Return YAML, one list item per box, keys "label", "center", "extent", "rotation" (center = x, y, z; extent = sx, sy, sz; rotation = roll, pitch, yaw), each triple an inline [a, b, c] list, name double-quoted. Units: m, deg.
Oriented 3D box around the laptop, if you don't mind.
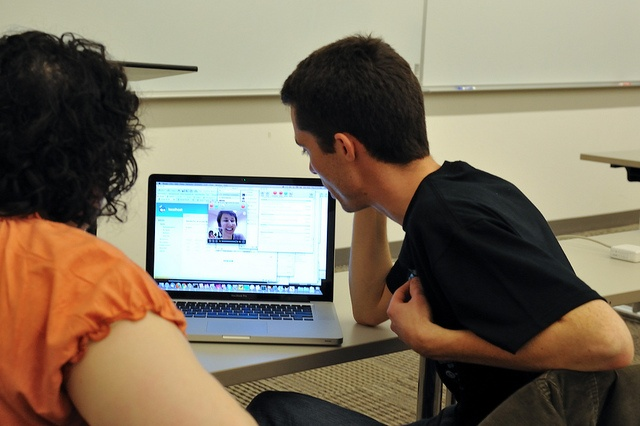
- label: "laptop"
  center: [-0.219, 0.108, 1.513]
  extent: [0.573, 0.377, 0.448]
  rotation: [3, 8, -7]
